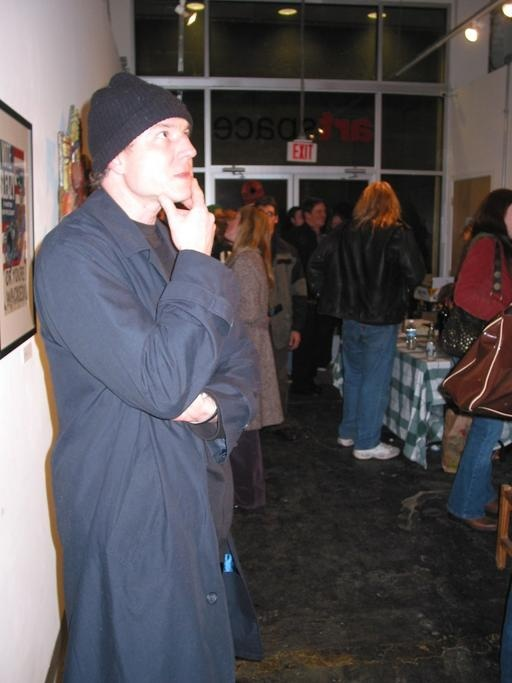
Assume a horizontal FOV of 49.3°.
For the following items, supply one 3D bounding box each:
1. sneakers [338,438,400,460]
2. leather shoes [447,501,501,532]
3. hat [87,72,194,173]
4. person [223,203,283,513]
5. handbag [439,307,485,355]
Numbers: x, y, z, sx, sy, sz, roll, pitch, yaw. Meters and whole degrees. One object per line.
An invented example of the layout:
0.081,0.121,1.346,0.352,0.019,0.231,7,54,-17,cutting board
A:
0.765,0.738,3.769,0.373,0.189,0.148,-4,15,-7,sneakers
1.069,0.861,2.749,0.249,0.130,0.096,12,13,25,leather shoes
-0.191,-0.357,0.942,0.147,0.145,0.147,-12,-15,-31,hat
0.074,0.085,3.261,0.502,1.709,0.493,-2,6,-11,person
0.969,-0.051,2.604,0.105,0.218,0.158,2,37,-14,handbag
